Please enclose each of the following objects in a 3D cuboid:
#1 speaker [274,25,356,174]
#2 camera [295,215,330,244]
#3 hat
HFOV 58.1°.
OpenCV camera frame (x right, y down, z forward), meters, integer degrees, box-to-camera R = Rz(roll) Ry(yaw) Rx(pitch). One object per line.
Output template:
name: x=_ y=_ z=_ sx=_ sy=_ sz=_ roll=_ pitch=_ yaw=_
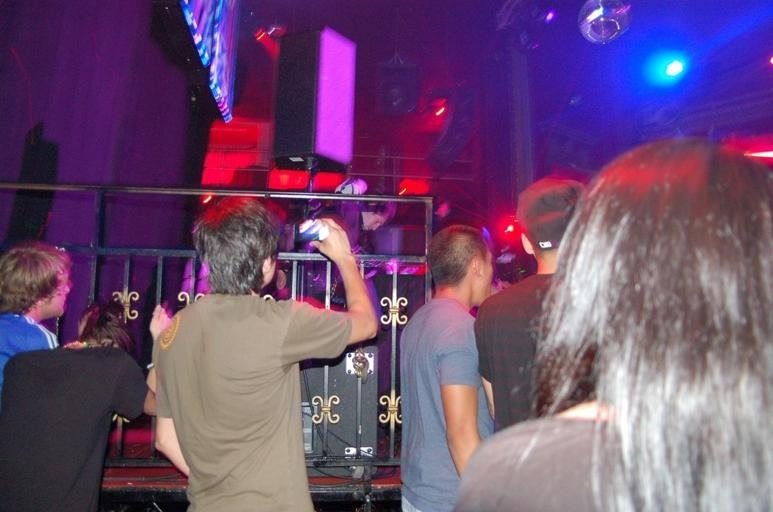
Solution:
speaker: x=-0.644 y=-1.455 z=6.295 sx=0.725 sy=1.221 sz=0.500 roll=4 pitch=-15 yaw=-8
camera: x=-0.552 y=-0.169 z=5.316 sx=0.249 sy=0.081 sz=0.255 roll=-29 pitch=21 yaw=-16
hat: x=1.114 y=-0.324 z=4.781 sx=0.362 sy=0.544 sz=0.490 roll=-6 pitch=19 yaw=-31
